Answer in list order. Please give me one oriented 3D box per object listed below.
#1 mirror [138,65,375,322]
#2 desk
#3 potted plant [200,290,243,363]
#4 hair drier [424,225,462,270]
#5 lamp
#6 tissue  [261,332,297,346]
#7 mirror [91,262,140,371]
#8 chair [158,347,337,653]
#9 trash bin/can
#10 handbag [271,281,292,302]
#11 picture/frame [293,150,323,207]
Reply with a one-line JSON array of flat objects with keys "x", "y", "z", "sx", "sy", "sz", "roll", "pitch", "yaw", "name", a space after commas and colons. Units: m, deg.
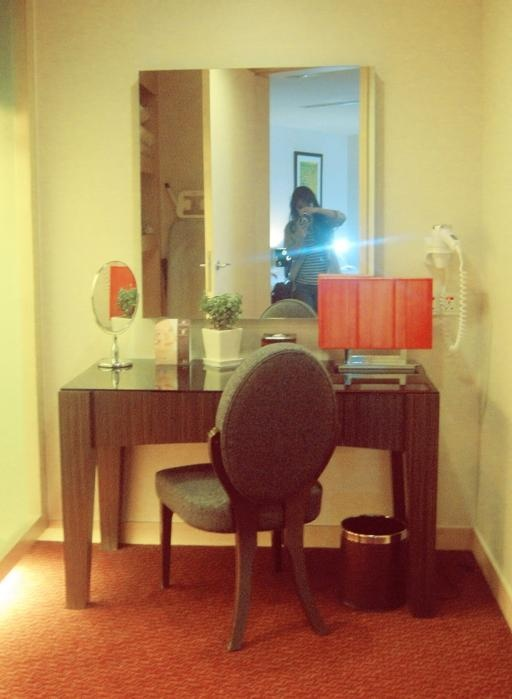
[{"x": 0.017, "y": -0.592, "z": 2.199, "sx": 0.875, "sy": 0.944, "sz": 0.044, "roll": 0, "pitch": 4, "yaw": -1, "name": "mirror"}, {"x": -0.014, "y": 0.356, "z": 2.166, "sx": 1.151, "sy": 0.731, "sz": 0.659, "roll": 0, "pitch": 18, "yaw": -1, "name": "desk"}, {"x": -0.091, "y": -0.054, "z": 2.180, "sx": 0.109, "sy": 0.226, "sz": 0.120, "roll": -3, "pitch": -4, "yaw": 5, "name": "potted plant"}, {"x": 0.652, "y": -0.355, "z": 2.176, "sx": 0.114, "sy": 0.158, "sz": 0.156, "roll": -5, "pitch": 18, "yaw": -19, "name": "hair drier"}, {"x": 0.409, "y": -0.095, "z": 2.083, "sx": 0.371, "sy": 0.331, "sz": 0.208, "roll": 1, "pitch": 17, "yaw": 13, "name": "lamp"}, {"x": 0.082, "y": -0.036, "z": 2.233, "sx": 0.129, "sy": 0.041, "sz": 0.154, "roll": 0, "pitch": 5, "yaw": 3, "name": "tissue "}, {"x": -0.504, "y": -0.127, "z": 2.215, "sx": 0.160, "sy": 0.370, "sz": 0.115, "roll": 2, "pitch": 6, "yaw": 7, "name": "mirror"}, {"x": -0.030, "y": 0.369, "z": 1.773, "sx": 0.428, "sy": 0.804, "sz": 0.474, "roll": -2, "pitch": 8, "yaw": -21, "name": "chair"}, {"x": 0.345, "y": 0.651, "z": 1.938, "sx": 0.218, "sy": 0.266, "sz": 0.239, "roll": 0, "pitch": 0, "yaw": 2, "name": "trash bin/can"}, {"x": 0.090, "y": -0.215, "z": 2.258, "sx": 0.062, "sy": 0.114, "sz": 0.061, "roll": 1, "pitch": 2, "yaw": -4, "name": "handbag"}, {"x": 0.186, "y": -0.628, "z": 2.205, "sx": 0.102, "sy": 0.145, "sz": 0.015, "roll": 0, "pitch": 5, "yaw": 1, "name": "picture/frame"}]
